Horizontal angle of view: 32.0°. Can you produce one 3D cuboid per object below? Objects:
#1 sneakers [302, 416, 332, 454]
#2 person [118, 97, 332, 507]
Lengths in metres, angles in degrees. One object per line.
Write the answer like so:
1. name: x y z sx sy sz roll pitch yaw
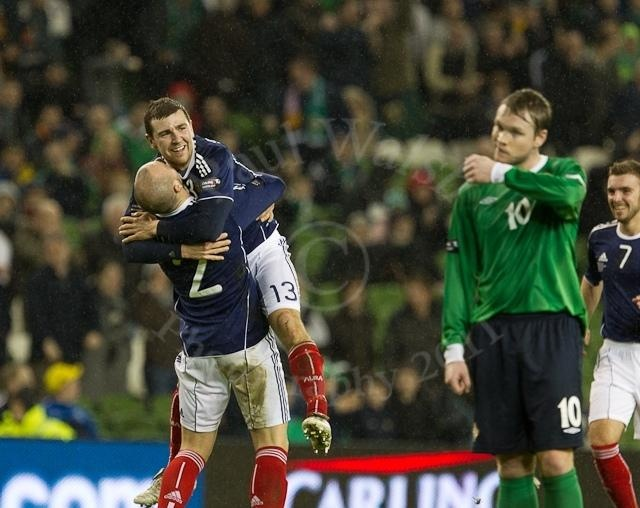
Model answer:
1. sneakers: -0.022 0.958 5.971 0.142 0.168 0.208 -2 -22 -1
2. person: -0.534 0.113 6.190 1.107 1.948 0.402 6 -22 -20
